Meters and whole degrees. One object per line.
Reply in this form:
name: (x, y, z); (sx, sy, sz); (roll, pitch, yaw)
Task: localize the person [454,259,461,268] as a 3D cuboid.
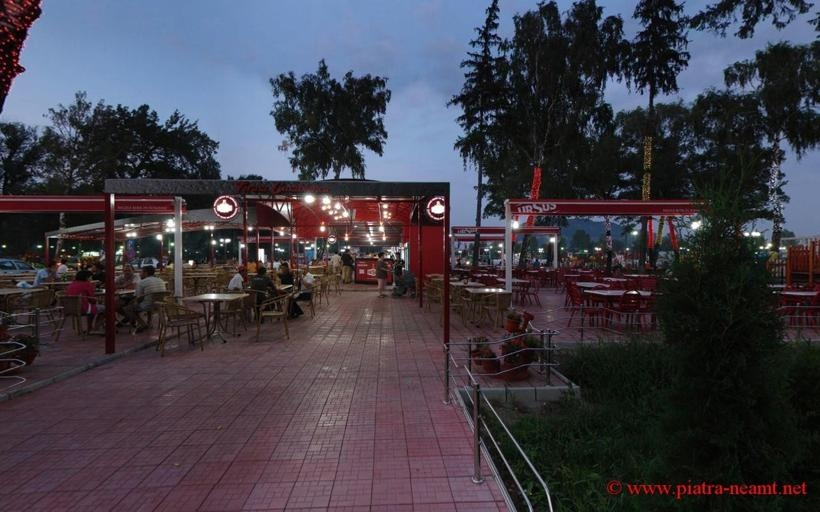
person: (3.666, 0.494, 46.376); (0.662, 0.733, 1.292); (-2, -1, -1)
